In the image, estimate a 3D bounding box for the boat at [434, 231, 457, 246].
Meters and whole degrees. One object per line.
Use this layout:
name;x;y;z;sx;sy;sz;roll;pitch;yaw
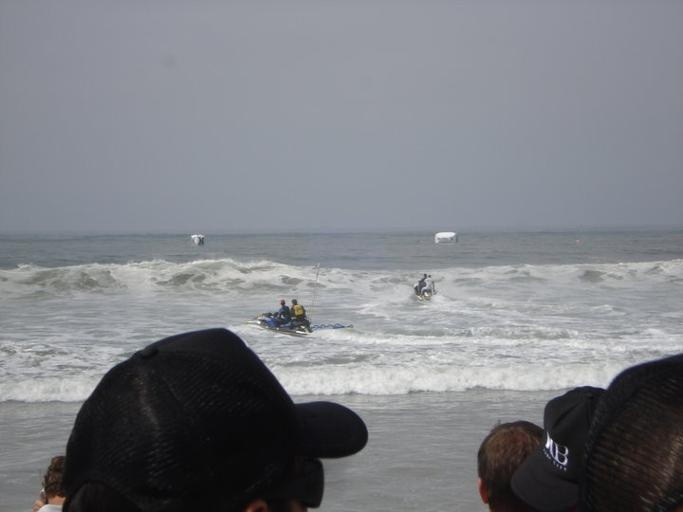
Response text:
boat;9.580;-1.676;93.028;2.291;0.948;1.144;2;4;40

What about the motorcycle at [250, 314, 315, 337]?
motorcycle;-1.945;2.234;31.568;1.474;0.308;0.766;11;8;36

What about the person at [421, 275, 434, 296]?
person;3.641;1.339;42.602;0.433;1.396;0.602;0;-3;-22
